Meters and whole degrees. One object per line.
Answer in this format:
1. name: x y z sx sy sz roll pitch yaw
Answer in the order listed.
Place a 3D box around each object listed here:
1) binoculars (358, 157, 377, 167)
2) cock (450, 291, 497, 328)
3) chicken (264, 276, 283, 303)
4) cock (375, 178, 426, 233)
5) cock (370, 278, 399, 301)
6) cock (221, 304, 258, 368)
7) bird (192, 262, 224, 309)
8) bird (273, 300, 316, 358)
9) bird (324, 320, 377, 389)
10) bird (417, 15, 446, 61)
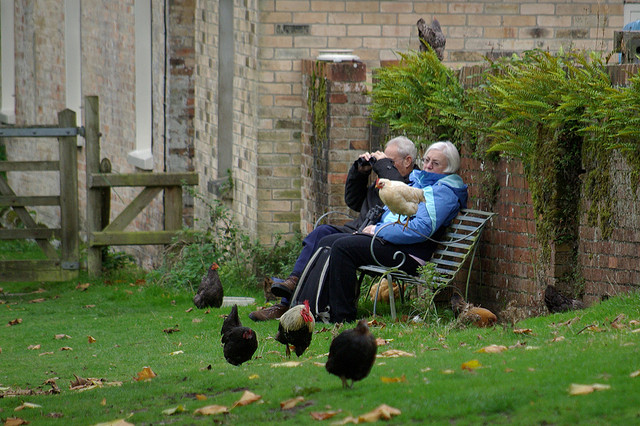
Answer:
1. binoculars: 0.682 -0.735 18.665 0.197 0.145 0.407 0 4 -11
2. cock: 2.039 1.313 17.906 0.557 0.357 0.883 -1 4 -25
3. chicken: -0.722 1.170 19.647 0.241 0.438 0.870 0 4 -2
4. cock: 1.108 -0.214 17.654 0.657 0.481 0.286 1 3 0
5. cock: 0.954 1.094 18.995 0.410 0.368 0.724 1 4 -1
6. cock: -1.059 1.680 17.164 0.401 0.788 0.811 -4 18 -23
7. bird: -1.756 1.165 20.159 0.469 0.835 0.671 3 -6 -31
8. bird: -0.350 1.539 17.156 0.540 0.787 0.926 3 -4 -21
9. bird: 0.372 1.682 15.723 0.552 0.837 0.737 5 -1 -8
10. bird: 1.663 -2.537 19.213 0.434 0.267 0.716 8 -36 26
